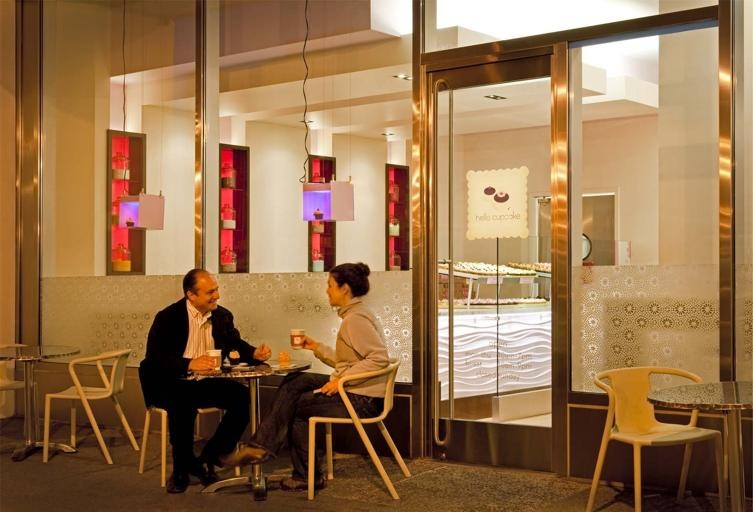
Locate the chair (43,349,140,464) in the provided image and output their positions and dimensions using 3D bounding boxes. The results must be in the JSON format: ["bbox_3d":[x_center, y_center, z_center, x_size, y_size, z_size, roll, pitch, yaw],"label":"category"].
[{"bbox_3d":[-2.545,1.317,6.157,0.783,0.932,0.769,-2,-4,33],"label":"chair"}]

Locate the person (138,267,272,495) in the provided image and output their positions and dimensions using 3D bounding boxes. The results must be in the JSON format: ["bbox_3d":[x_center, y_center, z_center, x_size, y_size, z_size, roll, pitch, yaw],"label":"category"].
[{"bbox_3d":[-1.396,0.990,5.489,0.980,1.714,0.902,1,0,-11],"label":"person"}]

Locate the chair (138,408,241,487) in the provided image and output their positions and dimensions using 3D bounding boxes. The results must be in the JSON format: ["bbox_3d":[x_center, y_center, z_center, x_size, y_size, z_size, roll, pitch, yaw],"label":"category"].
[{"bbox_3d":[-1.482,1.547,5.506,0.462,0.500,0.612,-4,-7,24],"label":"chair"}]

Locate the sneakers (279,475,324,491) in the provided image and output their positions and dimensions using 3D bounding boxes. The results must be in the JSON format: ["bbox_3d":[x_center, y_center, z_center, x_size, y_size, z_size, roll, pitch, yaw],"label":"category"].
[{"bbox_3d":[-0.565,1.726,5.217,0.320,0.087,0.130,3,-9,4],"label":"sneakers"}]

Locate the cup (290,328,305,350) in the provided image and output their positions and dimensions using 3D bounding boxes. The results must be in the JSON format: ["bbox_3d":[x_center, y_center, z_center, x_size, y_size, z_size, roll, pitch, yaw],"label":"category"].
[{"bbox_3d":[-0.587,0.629,5.156,0.124,0.145,0.131,1,1,0],"label":"cup"}]

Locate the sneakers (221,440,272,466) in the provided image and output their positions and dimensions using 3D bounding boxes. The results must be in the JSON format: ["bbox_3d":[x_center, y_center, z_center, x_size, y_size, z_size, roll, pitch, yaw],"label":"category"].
[{"bbox_3d":[-0.953,1.443,5.040,0.294,0.120,0.175,0,-6,1],"label":"sneakers"}]

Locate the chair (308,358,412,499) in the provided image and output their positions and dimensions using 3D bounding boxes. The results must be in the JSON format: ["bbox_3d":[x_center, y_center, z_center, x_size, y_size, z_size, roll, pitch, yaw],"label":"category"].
[{"bbox_3d":[-0.121,1.335,5.312,0.877,0.936,0.842,4,-9,-39],"label":"chair"}]

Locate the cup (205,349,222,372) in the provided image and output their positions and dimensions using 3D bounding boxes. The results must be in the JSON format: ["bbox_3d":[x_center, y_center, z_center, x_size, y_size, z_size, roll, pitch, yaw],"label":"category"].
[{"bbox_3d":[-1.168,0.756,5.028,0.096,0.147,0.139,3,-8,-40],"label":"cup"}]

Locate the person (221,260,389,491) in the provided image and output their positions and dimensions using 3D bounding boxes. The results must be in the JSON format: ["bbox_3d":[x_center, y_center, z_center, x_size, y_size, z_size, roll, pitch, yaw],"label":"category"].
[{"bbox_3d":[-0.494,0.939,5.332,1.223,1.802,0.801,5,-8,-1],"label":"person"}]

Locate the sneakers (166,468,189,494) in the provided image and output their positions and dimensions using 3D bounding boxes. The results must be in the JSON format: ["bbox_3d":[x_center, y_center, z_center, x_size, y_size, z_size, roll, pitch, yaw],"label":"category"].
[{"bbox_3d":[-1.514,1.708,5.259,0.176,0.165,0.186,1,0,-17],"label":"sneakers"}]
